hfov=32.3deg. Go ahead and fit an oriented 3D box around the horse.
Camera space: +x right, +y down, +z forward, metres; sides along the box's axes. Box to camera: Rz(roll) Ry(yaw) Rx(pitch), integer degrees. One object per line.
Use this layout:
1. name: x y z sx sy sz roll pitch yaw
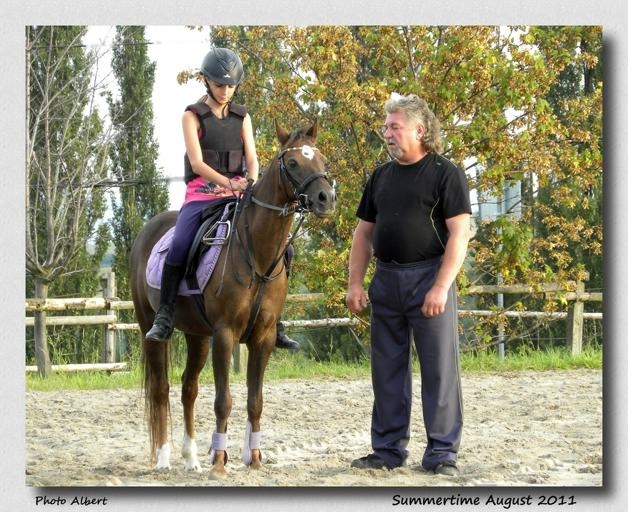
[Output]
1. horse: -1.221 0.769 14.764 1.605 4.609 4.694 4 -6 -33
